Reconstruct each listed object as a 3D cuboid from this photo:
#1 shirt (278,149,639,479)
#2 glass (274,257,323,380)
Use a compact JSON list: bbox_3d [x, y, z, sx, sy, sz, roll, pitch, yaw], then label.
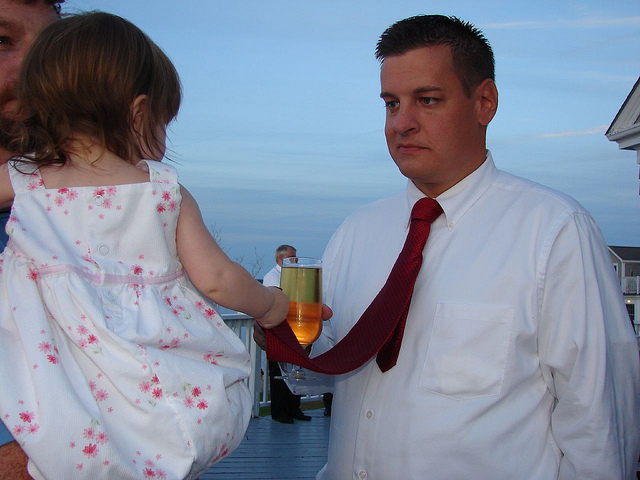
[{"bbox_3d":[0.637,0.382,2.562,1.126,1.123,0.619,2,17,10],"label":"shirt"},{"bbox_3d":[-0.075,0.297,2.512,0.183,0.439,0.177,4,-7,-12],"label":"glass"}]
